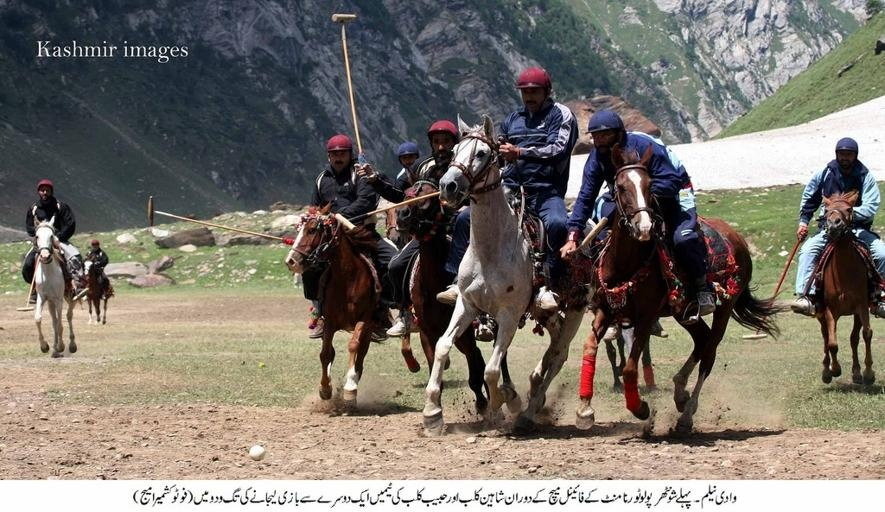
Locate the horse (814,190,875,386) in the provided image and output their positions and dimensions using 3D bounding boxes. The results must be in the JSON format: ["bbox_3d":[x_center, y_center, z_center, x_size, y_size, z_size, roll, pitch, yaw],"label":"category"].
[{"bbox_3d":[15.072,1.246,38.440,2.399,7.078,1.683,-5,4,-8],"label":"horse"}]
